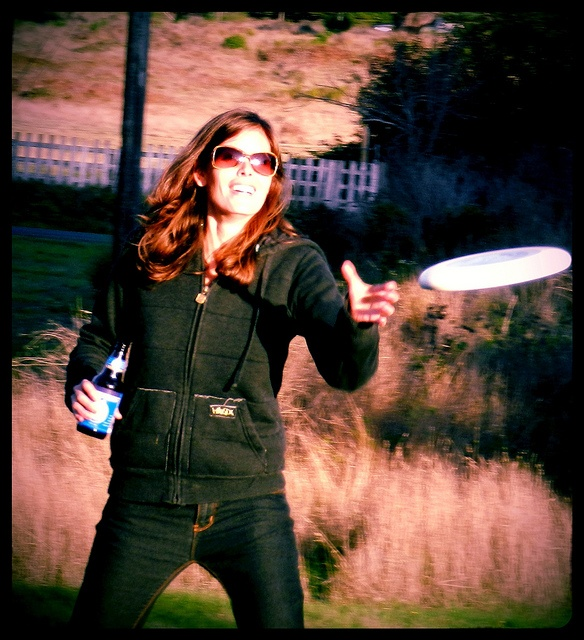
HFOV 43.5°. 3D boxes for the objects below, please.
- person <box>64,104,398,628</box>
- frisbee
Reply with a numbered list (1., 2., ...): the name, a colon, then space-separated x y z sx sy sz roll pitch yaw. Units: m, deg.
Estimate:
1. person: -0.296 0.175 2.996 1.284 2.127 0.784 8 7 4
2. frisbee: 0.794 -0.199 2.807 0.494 0.198 0.357 0 8 -40
